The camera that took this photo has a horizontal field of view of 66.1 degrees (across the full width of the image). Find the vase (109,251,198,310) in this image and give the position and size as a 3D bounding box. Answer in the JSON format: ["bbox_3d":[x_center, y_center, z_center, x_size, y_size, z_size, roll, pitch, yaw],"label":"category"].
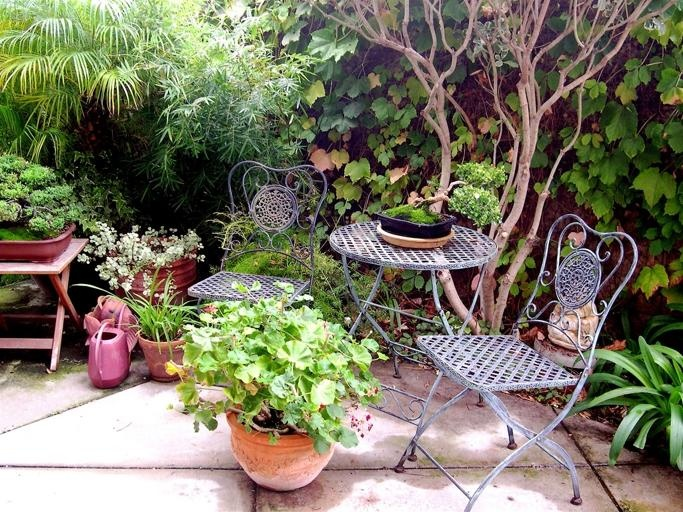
[{"bbox_3d":[-1.304,0.144,3.779,0.425,0.314,0.406,1,6,37],"label":"vase"}]

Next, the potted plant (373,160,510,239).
[{"bbox_3d":[0.584,-0.298,2.970,0.510,0.326,0.548,5,18,23],"label":"potted plant"}]

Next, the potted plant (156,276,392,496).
[{"bbox_3d":[-0.299,0.668,2.622,0.967,0.953,0.650,11,21,7],"label":"potted plant"}]

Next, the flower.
[{"bbox_3d":[-1.361,0.019,3.623,0.632,0.513,0.670,-1,4,-9],"label":"flower"}]
